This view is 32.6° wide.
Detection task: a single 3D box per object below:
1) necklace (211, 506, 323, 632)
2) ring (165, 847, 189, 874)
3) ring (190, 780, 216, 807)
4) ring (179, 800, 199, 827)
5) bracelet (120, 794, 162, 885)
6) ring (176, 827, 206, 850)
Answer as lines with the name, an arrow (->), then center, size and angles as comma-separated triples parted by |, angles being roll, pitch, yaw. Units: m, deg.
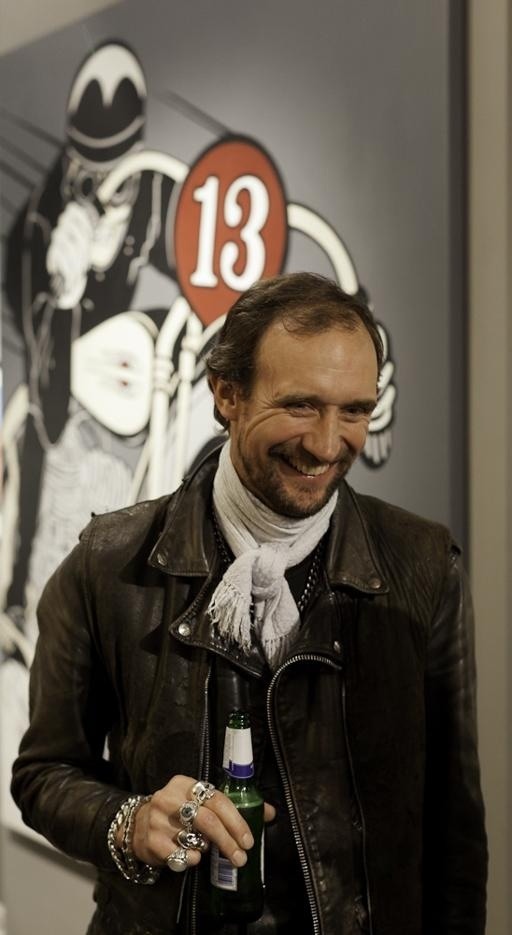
necklace -> 0.033, 0.183, 1.366 | 0.123, 0.232, 0.040 | 6, -11, 13
ring -> -0.103, 0.518, 1.156 | 0.025, 0.036, 0.015 | 0, -30, 15
ring -> -0.072, 0.431, 1.158 | 0.025, 0.026, 0.012 | 14, -18, -15
ring -> -0.088, 0.453, 1.148 | 0.010, 0.033, 0.025 | 6, 24, -48
bracelet -> -0.174, 0.543, 1.271 | 0.024, 0.108, 0.089 | 0, -1, 15
ring -> -0.085, 0.494, 1.158 | 0.032, 0.032, 0.025 | -18, 39, -14
